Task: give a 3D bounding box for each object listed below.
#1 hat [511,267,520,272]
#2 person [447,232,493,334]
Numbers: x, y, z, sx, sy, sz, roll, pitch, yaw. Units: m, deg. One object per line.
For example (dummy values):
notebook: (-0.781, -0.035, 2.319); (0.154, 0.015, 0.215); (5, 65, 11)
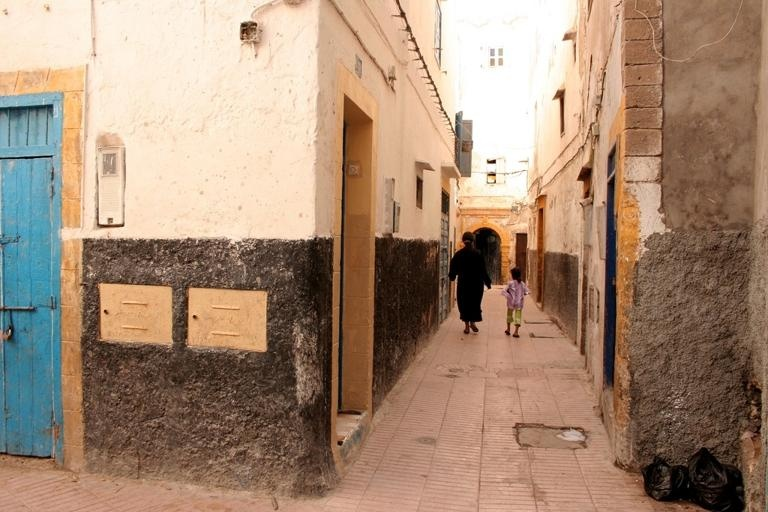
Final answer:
hat: (2.903, 0.292, 16.802); (0.110, 0.090, 0.152); (1, -1, 2)
person: (1.614, 0.494, 14.553); (0.763, 1.971, 1.046); (1, 8, 4)
